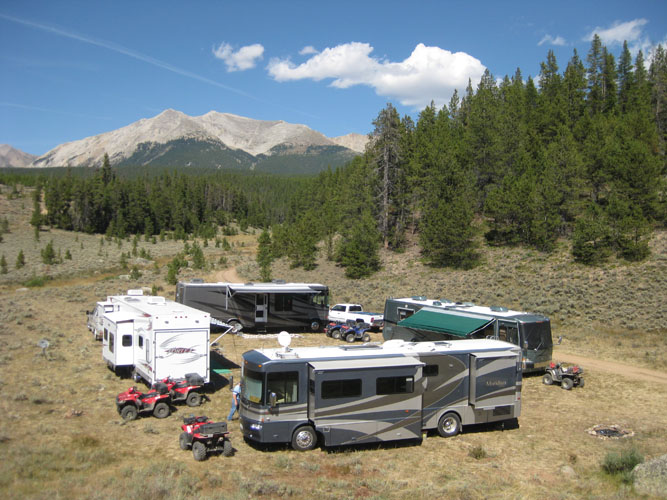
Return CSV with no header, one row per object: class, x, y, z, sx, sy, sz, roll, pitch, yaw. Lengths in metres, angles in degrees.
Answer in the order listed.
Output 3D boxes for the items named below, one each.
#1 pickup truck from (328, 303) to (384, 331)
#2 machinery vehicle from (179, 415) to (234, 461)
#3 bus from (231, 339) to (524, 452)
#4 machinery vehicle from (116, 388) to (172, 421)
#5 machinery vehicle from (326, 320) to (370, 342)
pickup truck,1.634,4.894,51.697,4.263,1.691,1.834,7,5,41
machinery vehicle,-6.516,9.557,33.705,2.311,2.207,2.501,-5,-1,0
bus,2.714,7.867,34.554,13.618,5.675,4.527,0,0,-12
machinery vehicle,-10.312,8.310,36.549,2.783,1.627,0.783,-2,5,-11
machinery vehicle,1.352,5.954,49.295,2.302,1.224,1.561,-2,6,-21
